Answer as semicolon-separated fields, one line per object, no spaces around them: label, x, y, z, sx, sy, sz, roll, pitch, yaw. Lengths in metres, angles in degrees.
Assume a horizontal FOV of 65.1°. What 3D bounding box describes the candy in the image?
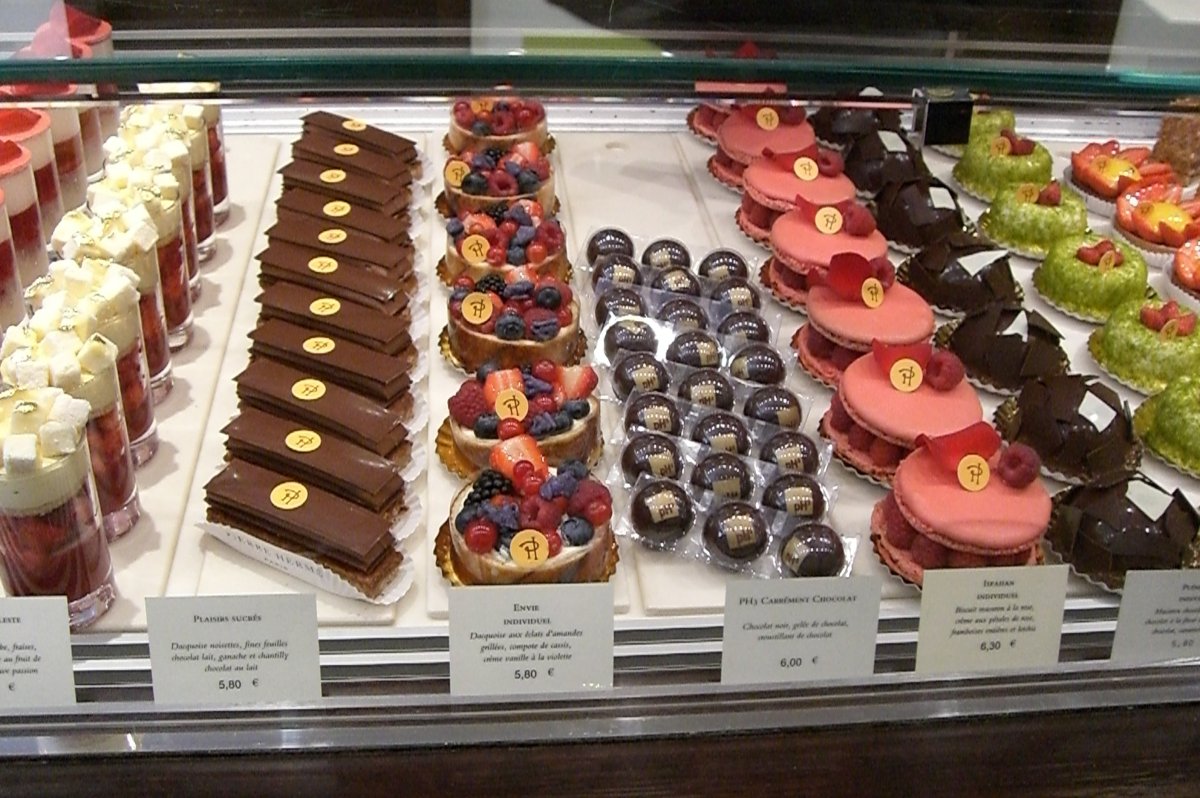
candy;0.304;0.040;2.606;0.783;0.758;0.743;0;36;2
